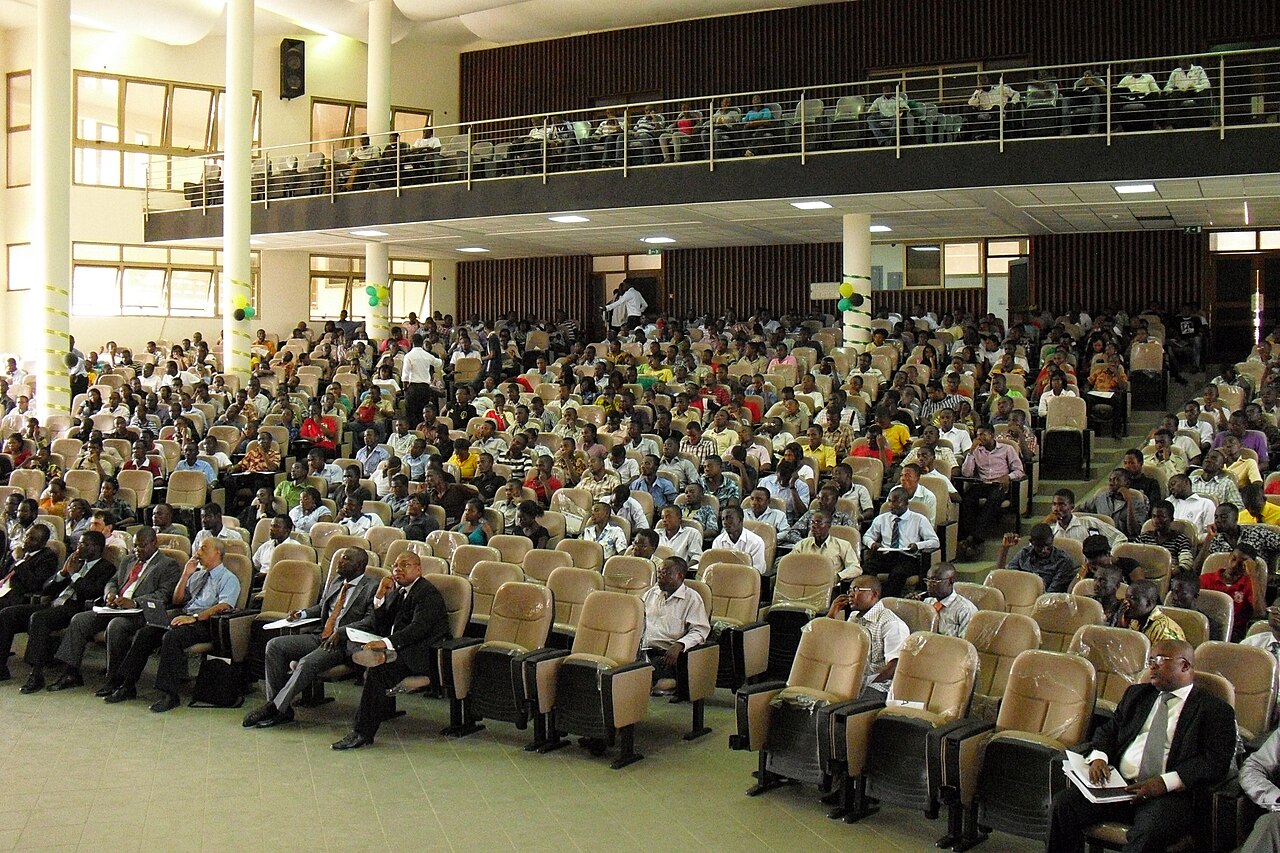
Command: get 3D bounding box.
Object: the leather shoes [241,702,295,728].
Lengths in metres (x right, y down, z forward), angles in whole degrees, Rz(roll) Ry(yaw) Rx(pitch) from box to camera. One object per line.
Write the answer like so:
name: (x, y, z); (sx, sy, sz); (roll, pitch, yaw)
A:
leather shoes: (-3.396, 2.653, 9.580); (0.470, 0.191, 0.182); (5, -9, -20)

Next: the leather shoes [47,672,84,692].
leather shoes: (-5.822, 2.573, 10.560); (0.354, 0.153, 0.136); (5, -3, -18)

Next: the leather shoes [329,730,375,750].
leather shoes: (-2.506, 2.725, 9.148); (0.410, 0.171, 0.138); (7, 3, -29)

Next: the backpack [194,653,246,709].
backpack: (-4.067, 2.427, 10.153); (0.495, 0.486, 0.460); (3, -2, -28)

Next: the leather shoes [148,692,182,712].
leather shoes: (-4.532, 2.658, 10.074); (0.127, 0.222, 0.331); (-8, -13, 39)

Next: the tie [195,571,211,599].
tie: (-4.453, 1.606, 10.610); (0.162, 0.230, 0.085); (4, -23, 7)

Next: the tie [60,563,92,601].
tie: (-5.986, 1.646, 11.085); (0.275, 0.374, 0.131); (22, -15, 28)

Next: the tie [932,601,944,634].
tie: (2.528, 1.632, 8.923); (0.152, 0.208, 0.064); (7, -4, 17)

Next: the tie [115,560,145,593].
tie: (-5.333, 1.564, 10.924); (0.275, 0.297, 0.343); (6, -9, 0)

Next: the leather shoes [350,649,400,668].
leather shoes: (-2.352, 2.032, 9.295); (0.324, 0.126, 0.196); (10, -9, -42)
